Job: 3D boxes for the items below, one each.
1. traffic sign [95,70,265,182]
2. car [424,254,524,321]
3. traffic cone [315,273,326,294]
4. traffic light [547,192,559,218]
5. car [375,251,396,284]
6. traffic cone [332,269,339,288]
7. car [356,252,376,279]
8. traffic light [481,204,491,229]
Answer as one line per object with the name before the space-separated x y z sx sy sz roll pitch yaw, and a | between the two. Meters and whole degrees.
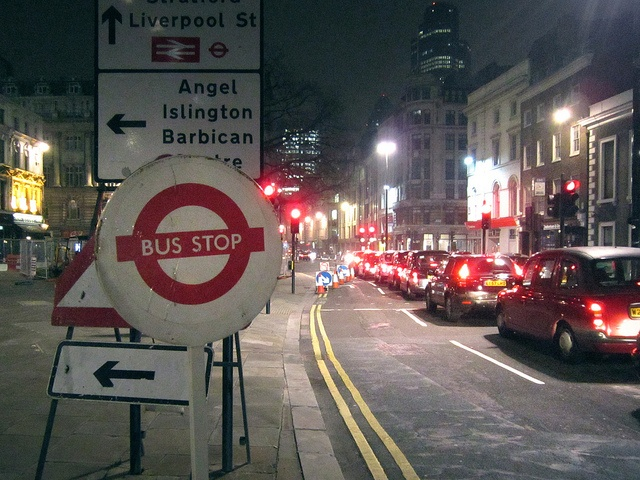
traffic sign | -1.507 -1.181 6.704 1.151 0.937 0.123 1 0 -6
car | 3.831 1.178 17.514 1.280 1.183 2.481 0 2 -5
traffic cone | -0.013 1.800 27.379 0.581 0.850 0.570 7 -9 -42
traffic light | 7.295 -1.089 20.596 0.330 0.722 1.308 1 2 19
car | 3.224 1.430 33.262 0.826 0.859 1.509 0 5 1
traffic cone | 0.688 1.757 29.782 0.477 0.749 0.510 -4 11 -4
car | 2.800 1.515 39.666 1.227 1.244 2.700 1 4 -2
traffic light | 6.649 -0.932 26.395 0.294 1.021 1.460 0 2 12
